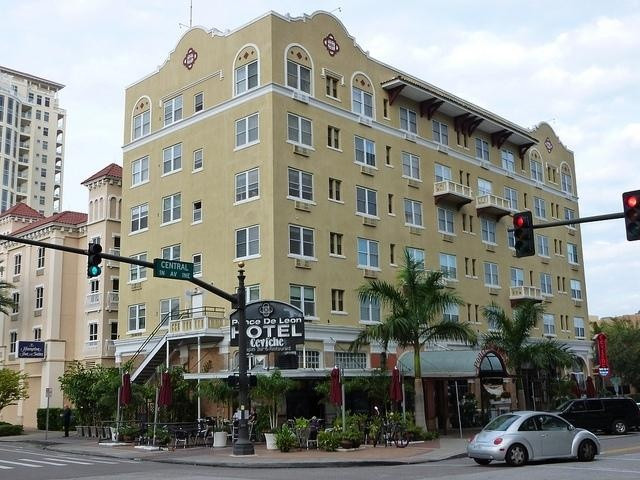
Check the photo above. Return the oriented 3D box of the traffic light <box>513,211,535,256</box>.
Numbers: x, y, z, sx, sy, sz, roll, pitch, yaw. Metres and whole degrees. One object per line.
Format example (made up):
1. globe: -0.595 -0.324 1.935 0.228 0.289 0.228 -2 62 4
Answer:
1. traffic light: 7.313 -0.225 24.047 0.675 1.660 1.065 -1 0 15

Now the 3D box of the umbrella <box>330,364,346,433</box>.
1. umbrella: 0.947 8.273 35.327 0.772 3.092 1.728 -1 0 1

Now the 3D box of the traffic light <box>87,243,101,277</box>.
1. traffic light: -8.822 0.767 26.252 0.549 1.057 0.846 -1 0 -19

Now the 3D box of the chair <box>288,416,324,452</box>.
1. chair: -0.736 10.422 36.184 1.591 1.679 1.489 2 -19 -6

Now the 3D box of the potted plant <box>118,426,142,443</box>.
1. potted plant: -11.761 11.979 41.524 1.156 0.954 1.274 -3 -14 16

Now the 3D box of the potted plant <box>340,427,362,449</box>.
1. potted plant: 1.545 10.077 34.162 0.868 0.775 0.917 2 -16 -6

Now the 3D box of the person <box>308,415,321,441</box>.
1. person: -0.193 10.151 36.342 0.779 1.643 0.904 0 0 10

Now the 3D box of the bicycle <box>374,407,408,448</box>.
1. bicycle: 3.912 10.328 36.247 0.926 1.299 2.007 5 -6 -41

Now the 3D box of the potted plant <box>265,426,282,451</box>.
1. potted plant: -2.450 10.470 35.333 0.965 0.816 0.914 3 -23 -9
